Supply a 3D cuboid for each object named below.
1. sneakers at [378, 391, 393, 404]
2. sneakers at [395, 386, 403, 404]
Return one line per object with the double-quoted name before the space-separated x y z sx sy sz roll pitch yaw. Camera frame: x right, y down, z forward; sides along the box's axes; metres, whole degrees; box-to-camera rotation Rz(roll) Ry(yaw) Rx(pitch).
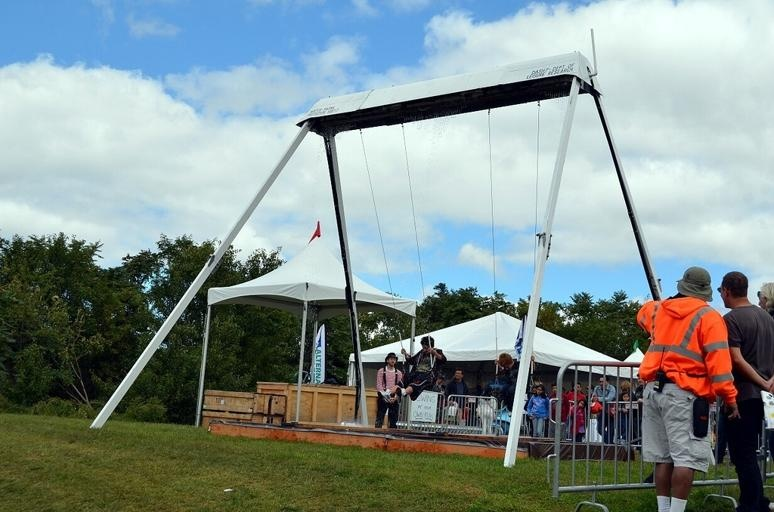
"sneakers" -0.051 3.346 19.769 0.229 0.304 0.267 -24 -1 -11
"sneakers" 0.278 3.338 19.922 0.125 0.379 0.158 -1 0 6
